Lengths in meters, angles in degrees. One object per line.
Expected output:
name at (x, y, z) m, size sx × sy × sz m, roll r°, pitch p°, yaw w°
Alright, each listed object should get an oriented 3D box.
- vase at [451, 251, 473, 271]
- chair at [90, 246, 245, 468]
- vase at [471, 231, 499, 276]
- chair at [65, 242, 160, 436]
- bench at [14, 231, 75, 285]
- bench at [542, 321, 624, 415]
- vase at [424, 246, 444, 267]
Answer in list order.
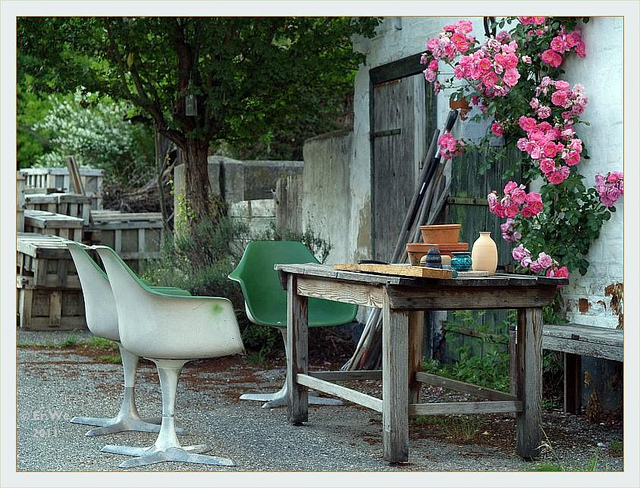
vase at (0.919, 0.113, 5.394) m, size 0.107 × 0.101 × 0.114 m, roll 1°, pitch -7°, yaw -6°
chair at (-0.971, 0.715, 5.418) m, size 0.966 × 1.346 × 1.054 m, roll 3°, pitch 2°, yaw 36°
vase at (1.081, 0.066, 5.430) m, size 0.166 × 0.271 × 0.319 m, roll 1°, pitch 5°, yaw 10°
chair at (-1.404, 0.682, 6.053) m, size 1.022 × 1.309 × 1.044 m, roll 4°, pitch 0°, yaw -7°
bench at (-3.360, 0.192, 9.907) m, size 0.591 × 0.507 × 1.032 m, roll -2°, pitch 5°, yaw -20°
bench at (1.955, 0.901, 6.050) m, size 0.356 × 0.521 × 0.680 m, roll -2°, pitch 1°, yaw -22°
vase at (0.721, 0.084, 5.226) m, size 0.111 × 0.124 × 0.118 m, roll -1°, pitch 1°, yaw 4°
